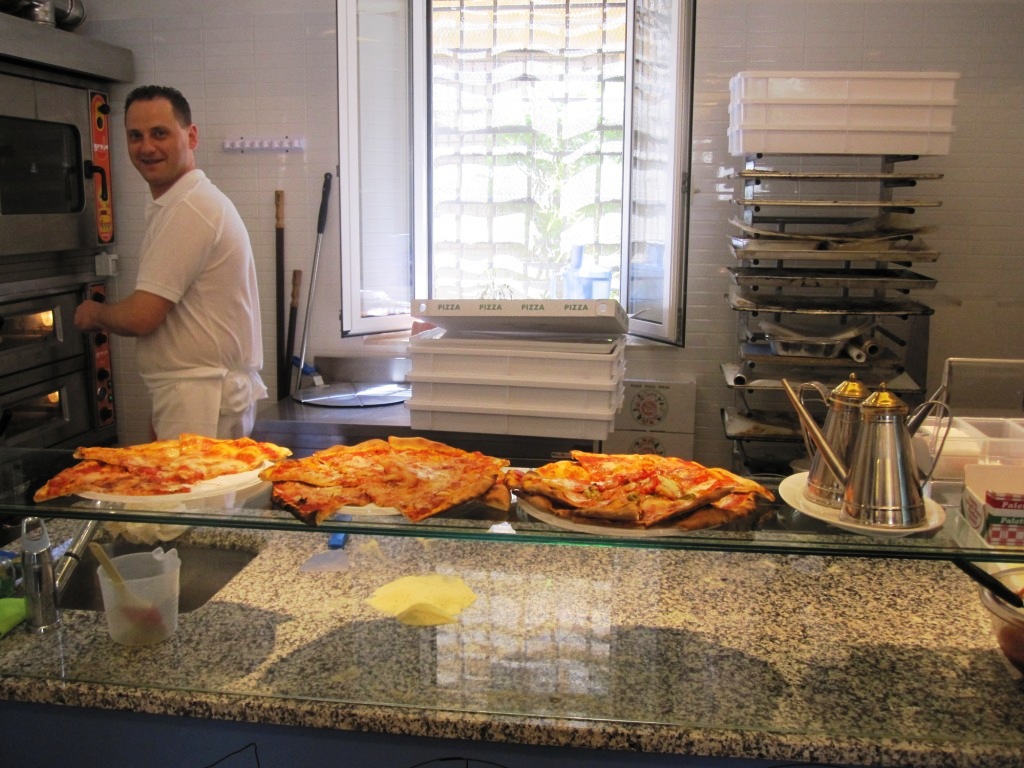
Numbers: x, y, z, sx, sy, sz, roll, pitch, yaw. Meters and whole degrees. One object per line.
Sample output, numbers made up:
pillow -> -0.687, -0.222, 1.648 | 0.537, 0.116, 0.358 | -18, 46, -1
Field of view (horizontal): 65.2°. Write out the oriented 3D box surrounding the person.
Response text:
person -> -1.176, -0.394, 2.725 | 0.526, 1.234, 0.505 | -1, 16, -7

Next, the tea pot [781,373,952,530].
tea pot -> 0.639, 0.120, 1.435 | 0.241, 0.231, 0.229 | 1, 15, 0

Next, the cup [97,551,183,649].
cup -> -0.744, 0.430, 1.614 | 0.175, 0.129, 0.168 | 1, 8, 0

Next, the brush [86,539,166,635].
brush -> -0.787, 0.398, 1.592 | 0.205, 0.191, 0.071 | 12, 20, 38
